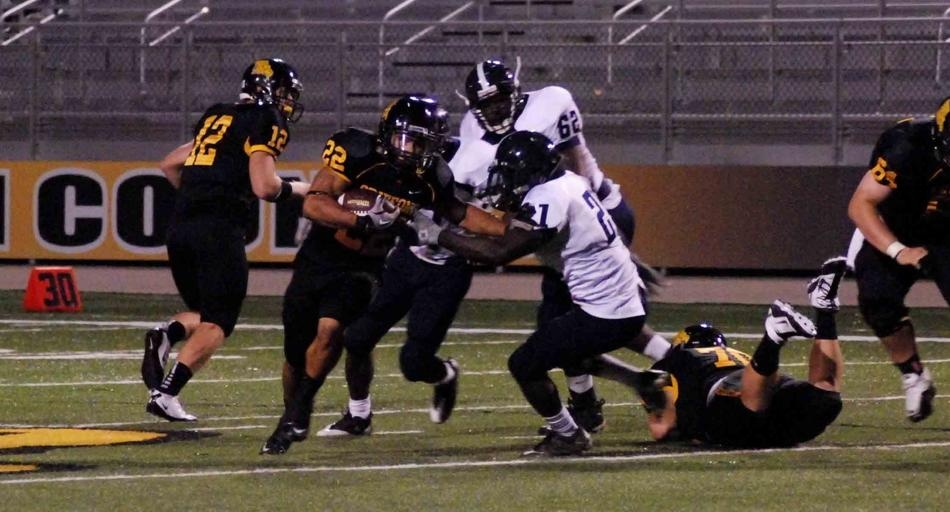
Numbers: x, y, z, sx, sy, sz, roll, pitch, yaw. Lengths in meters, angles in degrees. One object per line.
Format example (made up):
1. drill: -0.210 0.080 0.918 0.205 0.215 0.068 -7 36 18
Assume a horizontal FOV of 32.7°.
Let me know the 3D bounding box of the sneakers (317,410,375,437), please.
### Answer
1. sneakers: -1.487 1.996 19.002 0.785 0.256 0.243 1 -4 0

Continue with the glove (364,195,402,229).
1. glove: -0.992 -0.488 18.394 0.477 0.388 0.291 -7 42 5

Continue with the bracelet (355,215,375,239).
1. bracelet: -1.224 -0.340 18.447 0.215 0.228 0.108 -2 -2 24

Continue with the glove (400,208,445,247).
1. glove: -0.611 -0.325 18.359 0.483 0.339 0.178 38 4 30
